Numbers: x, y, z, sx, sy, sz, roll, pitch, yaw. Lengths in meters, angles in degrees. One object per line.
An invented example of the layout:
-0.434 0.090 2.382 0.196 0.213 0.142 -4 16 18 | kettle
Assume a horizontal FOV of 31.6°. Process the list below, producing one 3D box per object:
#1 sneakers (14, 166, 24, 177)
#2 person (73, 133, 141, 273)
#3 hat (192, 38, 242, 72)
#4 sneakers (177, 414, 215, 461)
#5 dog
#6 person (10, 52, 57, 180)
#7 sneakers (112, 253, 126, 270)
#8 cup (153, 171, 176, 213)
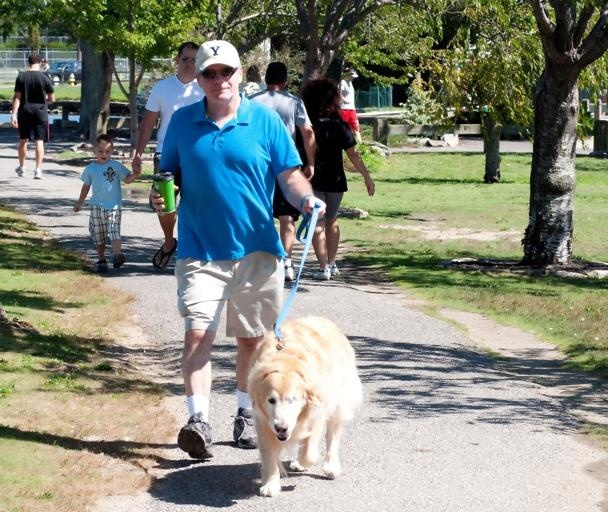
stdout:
-5.430 -1.607 20.460 0.111 0.137 0.321 1 4 -22 | sneakers
-2.385 -0.647 12.728 0.622 1.558 0.999 1 11 -11 | person
-0.595 -1.360 7.312 0.209 0.152 0.280 0 1 -1 | hat
-0.717 1.197 7.197 0.147 0.187 0.361 0 -35 2 | sneakers
-0.032 1.002 7.048 0.506 1.085 0.868 11 13 31 | dog
-5.079 -2.581 20.135 0.734 2.330 1.582 1 12 -14 | person
-2.195 0.063 12.784 0.078 0.233 0.094 5 46 -14 | sneakers
-0.967 -0.451 7.460 0.177 0.284 0.175 -9 22 4 | cup
